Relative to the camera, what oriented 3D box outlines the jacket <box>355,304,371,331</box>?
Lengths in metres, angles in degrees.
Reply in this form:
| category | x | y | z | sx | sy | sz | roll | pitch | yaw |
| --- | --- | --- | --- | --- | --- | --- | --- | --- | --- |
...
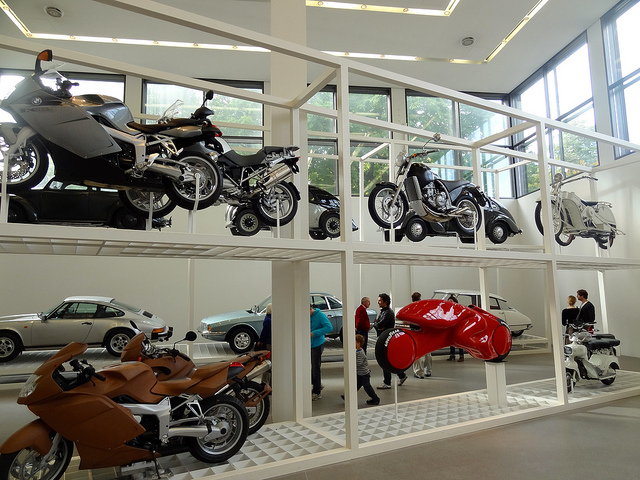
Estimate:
| category | x | y | z | sx | sy | sz | roll | pitch | yaw |
| --- | --- | --- | --- | --- | --- | --- | --- | --- | --- |
| jacket | 0.750 | 1.348 | 7.651 | 0.236 | 0.425 | 0.228 | 0 | -2 | 8 |

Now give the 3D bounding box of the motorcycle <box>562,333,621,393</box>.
| category | x | y | z | sx | sy | sz | roll | pitch | yaw |
| --- | --- | --- | --- | --- | --- | --- | --- | --- | --- |
| motorcycle | 4.093 | 1.801 | 6.872 | 1.721 | 0.961 | 0.616 | 6 | -5 | -31 |

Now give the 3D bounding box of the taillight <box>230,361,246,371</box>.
| category | x | y | z | sx | sy | sz | roll | pitch | yaw |
| --- | --- | --- | --- | --- | --- | --- | --- | --- | --- |
| taillight | -0.826 | 1.266 | 4.457 | 0.090 | 0.020 | 0.089 | 14 | 6 | 13 |

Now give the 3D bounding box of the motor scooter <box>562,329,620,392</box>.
| category | x | y | z | sx | sy | sz | roll | pitch | yaw |
| --- | --- | --- | --- | --- | --- | --- | --- | --- | --- |
| motor scooter | 4.120 | 1.829 | 6.780 | 1.219 | 0.824 | 0.396 | 2 | -2 | -35 |

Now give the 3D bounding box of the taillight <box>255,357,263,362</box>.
| category | x | y | z | sx | sy | sz | roll | pitch | yaw |
| --- | --- | --- | --- | --- | --- | --- | --- | --- | --- |
| taillight | -0.639 | 1.259 | 4.686 | 0.067 | 0.019 | 0.062 | 1 | -1 | 3 |

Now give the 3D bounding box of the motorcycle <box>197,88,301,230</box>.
| category | x | y | z | sx | sy | sz | roll | pitch | yaw |
| --- | --- | --- | --- | --- | --- | --- | --- | --- | --- |
| motorcycle | -0.930 | -1.028 | 5.493 | 2.115 | 1.389 | 0.969 | 18 | 23 | 33 |

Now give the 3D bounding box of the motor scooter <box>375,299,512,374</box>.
| category | x | y | z | sx | sy | sz | roll | pitch | yaw |
| --- | --- | --- | --- | --- | --- | --- | --- | --- | --- |
| motor scooter | 1.377 | 1.163 | 5.649 | 2.116 | 0.845 | 0.731 | 1 | -10 | -20 |

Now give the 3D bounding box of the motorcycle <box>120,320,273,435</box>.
| category | x | y | z | sx | sy | sz | roll | pitch | yaw |
| --- | --- | --- | --- | --- | --- | --- | --- | --- | --- |
| motorcycle | -1.366 | 1.485 | 4.487 | 2.063 | 1.130 | 0.929 | 11 | -17 | -32 |

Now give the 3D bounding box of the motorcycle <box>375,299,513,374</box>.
| category | x | y | z | sx | sy | sz | roll | pitch | yaw |
| --- | --- | --- | --- | --- | --- | --- | --- | --- | --- |
| motorcycle | 1.566 | 1.134 | 5.503 | 2.071 | 0.831 | 0.707 | 1 | 1 | -28 |

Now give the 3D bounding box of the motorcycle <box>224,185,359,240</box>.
| category | x | y | z | sx | sy | sz | roll | pitch | yaw |
| --- | --- | --- | --- | --- | --- | --- | --- | --- | --- |
| motorcycle | -0.520 | -0.400 | 7.280 | 1.951 | 0.879 | 1.014 | 2 | -2 | -12 |

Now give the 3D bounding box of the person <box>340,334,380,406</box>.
| category | x | y | z | sx | sy | sz | roll | pitch | yaw |
| --- | --- | --- | --- | --- | --- | --- | --- | --- | --- |
| person | 0.694 | 1.860 | 6.335 | 0.339 | 1.071 | 1.296 | 0 | -2 | 7 |

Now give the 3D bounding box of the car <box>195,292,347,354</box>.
| category | x | y | z | sx | sy | sz | roll | pitch | yaw |
| --- | --- | --- | --- | --- | --- | --- | --- | --- | --- |
| car | -0.748 | 1.763 | 9.061 | 3.430 | 1.016 | 1.374 | 1 | -3 | -9 |

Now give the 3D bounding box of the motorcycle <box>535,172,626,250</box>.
| category | x | y | z | sx | sy | sz | roll | pitch | yaw |
| --- | --- | --- | --- | --- | --- | --- | --- | --- | --- |
| motorcycle | 5.132 | -0.554 | 8.703 | 2.475 | 1.293 | 0.879 | 6 | -15 | -28 |

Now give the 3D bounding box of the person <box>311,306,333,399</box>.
| category | x | y | z | sx | sy | sz | roll | pitch | yaw |
| --- | --- | --- | --- | --- | --- | --- | --- | --- | --- |
| person | 0.021 | 1.741 | 6.709 | 0.298 | 1.384 | 0.500 | 1 | -2 | -1 |

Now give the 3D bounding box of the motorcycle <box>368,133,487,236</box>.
| category | x | y | z | sx | sy | sz | roll | pitch | yaw |
| --- | --- | --- | --- | --- | --- | --- | --- | --- | --- |
| motorcycle | 1.699 | -0.793 | 6.828 | 2.135 | 1.309 | 1.035 | 4 | -11 | -24 |
